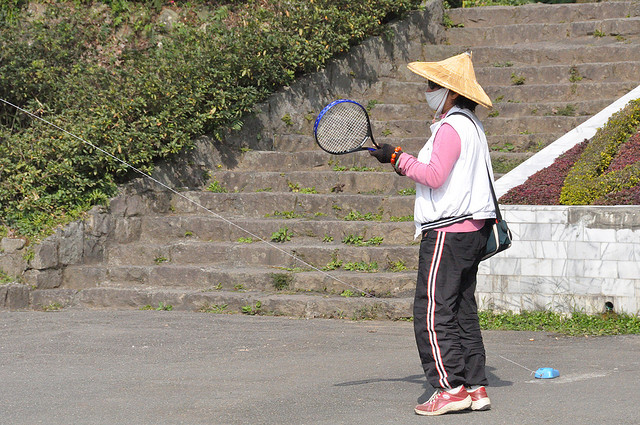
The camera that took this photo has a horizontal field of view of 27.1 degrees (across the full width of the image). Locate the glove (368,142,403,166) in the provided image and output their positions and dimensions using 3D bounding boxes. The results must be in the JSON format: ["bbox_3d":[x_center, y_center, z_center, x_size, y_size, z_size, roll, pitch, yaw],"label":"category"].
[{"bbox_3d":[1.036,-0.895,20.560,0.482,0.298,0.252,-2,1,1],"label":"glove"}]

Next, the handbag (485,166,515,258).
[{"bbox_3d":[2.784,0.072,20.740,0.500,1.222,0.502,-2,-1,-27],"label":"handbag"}]
